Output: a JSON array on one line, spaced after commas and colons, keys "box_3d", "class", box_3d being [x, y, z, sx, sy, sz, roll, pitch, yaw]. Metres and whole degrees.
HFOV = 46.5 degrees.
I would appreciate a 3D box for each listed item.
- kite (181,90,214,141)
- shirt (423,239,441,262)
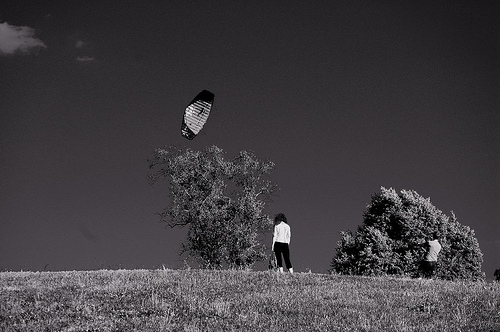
[{"box_3d": [-3.720, -3.646, 40.025, 1.769, 0.414, 3.990, 9, -54, -28], "class": "kite"}, {"box_3d": [12.677, 5.809, 40.359, 0.811, 1.469, 1.085, 5, -26, -3], "class": "shirt"}]
